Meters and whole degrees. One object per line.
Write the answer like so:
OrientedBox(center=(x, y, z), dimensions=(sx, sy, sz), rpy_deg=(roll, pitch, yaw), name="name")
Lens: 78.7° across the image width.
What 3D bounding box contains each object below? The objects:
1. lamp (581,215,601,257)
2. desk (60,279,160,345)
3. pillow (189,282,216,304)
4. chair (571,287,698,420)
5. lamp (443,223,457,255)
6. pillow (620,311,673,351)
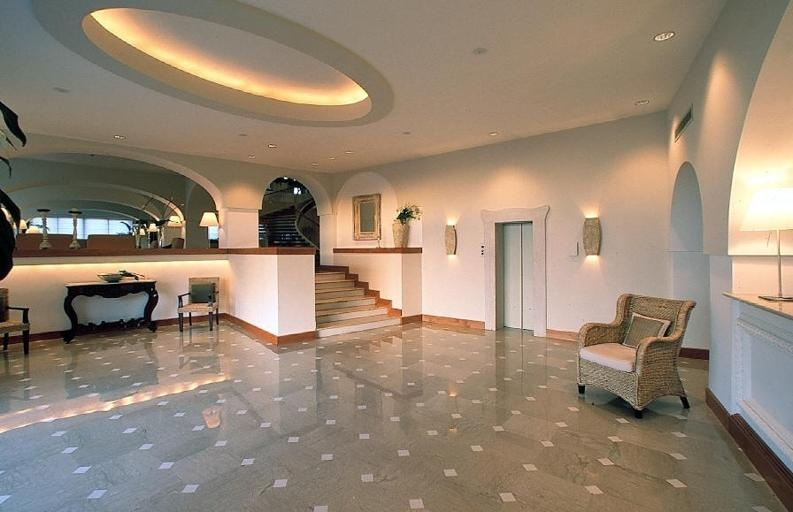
OrientedBox(center=(3.860, -0.390, 9.523), dimensions=(0.356, 0.753, 0.178), rpy_deg=(3, 12, 19), name="lamp")
OrientedBox(center=(-6.279, 1.314, 10.728), dimensions=(2.414, 1.677, 1.135), rpy_deg=(0, -2, -40), name="desk")
OrientedBox(center=(-4.476, 0.828, 11.296), dimensions=(0.610, 0.556, 0.431), rpy_deg=(0, -4, -1), name="pillow")
OrientedBox(center=(3.488, 1.401, 7.719), dimensions=(1.719, 2.111, 1.674), rpy_deg=(2, -3, -29), name="chair")
OrientedBox(center=(1.294, -0.390, 11.415), dimensions=(0.273, 0.735, 0.195), rpy_deg=(0, 11, 4), name="lamp")
OrientedBox(center=(3.680, 1.118, 7.152), dimensions=(0.154, 0.477, 0.502), rpy_deg=(29, 2, -15), name="pillow")
